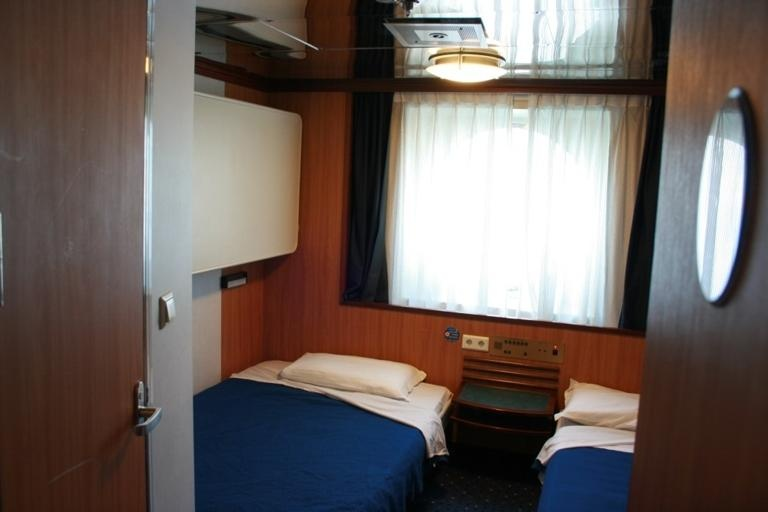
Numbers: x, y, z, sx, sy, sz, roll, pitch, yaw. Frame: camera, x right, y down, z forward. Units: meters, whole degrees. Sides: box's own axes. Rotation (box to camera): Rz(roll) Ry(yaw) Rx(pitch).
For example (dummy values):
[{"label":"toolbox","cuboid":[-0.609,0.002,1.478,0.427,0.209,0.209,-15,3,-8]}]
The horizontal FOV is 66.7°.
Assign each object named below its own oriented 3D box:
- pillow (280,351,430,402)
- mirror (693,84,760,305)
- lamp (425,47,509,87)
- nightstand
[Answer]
[{"label":"pillow","cuboid":[-0.211,0.789,3.844,0.609,0.103,0.379,4,9,20]},{"label":"mirror","cuboid":[0.604,-0.090,1.054,0.013,0.355,0.356,4,5,18]},{"label":"lamp","cuboid":[0.481,-1.111,3.374,0.444,0.108,0.454,5,5,27]},{"label":"nightstand","cuboid":[0.760,1.131,3.812,0.715,0.706,0.517,2,6,21]}]
